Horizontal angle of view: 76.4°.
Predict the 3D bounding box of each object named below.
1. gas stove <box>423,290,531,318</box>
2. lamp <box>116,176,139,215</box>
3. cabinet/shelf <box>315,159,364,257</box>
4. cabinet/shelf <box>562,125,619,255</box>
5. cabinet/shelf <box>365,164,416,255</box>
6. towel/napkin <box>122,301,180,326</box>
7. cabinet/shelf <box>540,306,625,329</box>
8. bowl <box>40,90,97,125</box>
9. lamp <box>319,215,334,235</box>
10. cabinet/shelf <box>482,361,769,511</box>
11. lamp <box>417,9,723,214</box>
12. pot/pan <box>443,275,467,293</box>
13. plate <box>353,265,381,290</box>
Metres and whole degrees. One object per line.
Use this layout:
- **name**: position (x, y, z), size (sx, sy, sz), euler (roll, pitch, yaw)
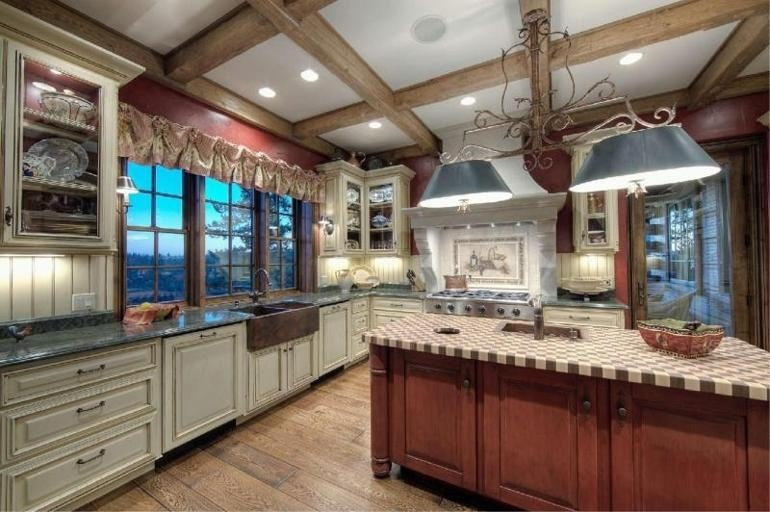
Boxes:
- **gas stove**: position (1.126, 0.585, 5.935), size (1.323, 0.295, 0.790), euler (-3, -1, 20)
- **lamp**: position (-2.442, -0.590, 4.622), size (0.217, 0.348, 0.254), euler (-7, -6, 39)
- **cabinet/shelf**: position (-0.533, -0.637, 6.708), size (0.679, 0.944, 0.355), euler (-1, -2, -44)
- **cabinet/shelf**: position (2.485, -0.651, 5.676), size (0.528, 1.225, 0.391), euler (2, 8, 36)
- **cabinet/shelf**: position (0.034, -0.581, 6.980), size (0.684, 1.234, 0.383), euler (-2, -3, 36)
- **towel/napkin**: position (-2.203, 0.538, 4.627), size (0.293, 0.199, 0.477), euler (-3, -2, 39)
- **cabinet/shelf**: position (2.240, 0.671, 5.506), size (0.846, 0.236, 0.205), euler (-3, -1, 25)
- **bowl**: position (-2.731, -1.277, 4.199), size (0.288, 0.153, 0.274), euler (1, 3, 0)
- **lamp**: position (-0.759, -0.424, 6.474), size (0.219, 0.251, 0.243), euler (-1, -1, 20)
- **cabinet/shelf**: position (1.886, 1.343, 3.632), size (1.253, 0.661, 0.433), euler (-4, -12, 23)
- **lamp**: position (1.309, -1.274, 4.142), size (2.360, 1.511, 0.844), euler (-2, 3, 37)
- **pot/pan**: position (0.918, 0.345, 6.399), size (0.370, 0.243, 0.197), euler (1, 2, 19)
- **plate**: position (-0.260, 0.302, 7.049), size (0.398, 0.244, 0.369), euler (-2, -1, -1)
